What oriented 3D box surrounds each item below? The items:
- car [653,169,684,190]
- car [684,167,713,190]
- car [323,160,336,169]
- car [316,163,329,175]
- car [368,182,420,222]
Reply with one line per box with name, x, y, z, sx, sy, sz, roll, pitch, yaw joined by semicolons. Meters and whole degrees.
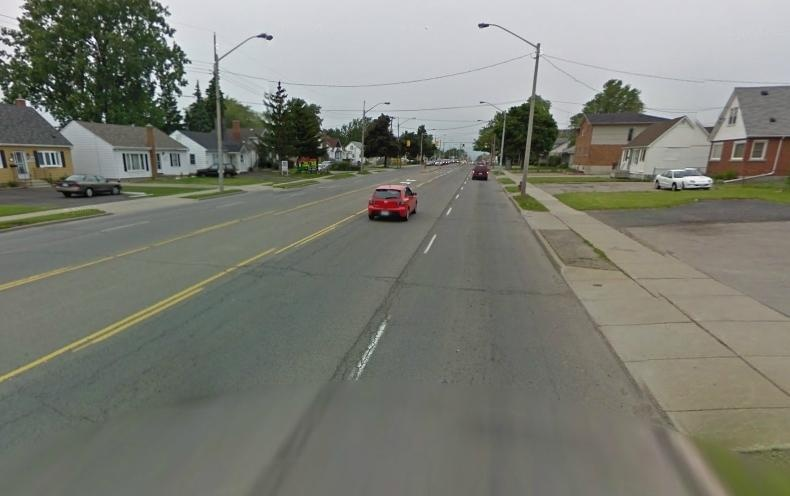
car;19.326;-4.732;38.802;0.946;0.872;2.322;-2;6;2
car;20.436;-4.705;37.467;1.117;0.897;2.661;1;11;25
car;-9.575;-11.601;77.390;1.035;1.068;4.054;1;10;8
car;-9.579;-10.470;73.408;1.291;1.091;2.899;-2;11;1
car;0.050;-2.215;26.610;1.371;1.069;2.520;2;20;11
